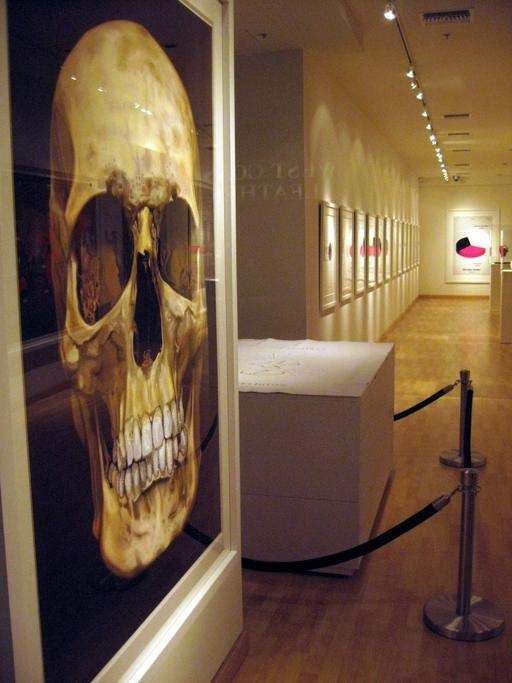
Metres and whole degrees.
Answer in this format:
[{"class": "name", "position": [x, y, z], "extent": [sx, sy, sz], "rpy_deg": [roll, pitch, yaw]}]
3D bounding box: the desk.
[{"class": "desk", "position": [0.387, 0.213, 3.756], "extent": [0.822, 1.158, 1.955], "rpy_deg": [-1, 7, 8]}]
